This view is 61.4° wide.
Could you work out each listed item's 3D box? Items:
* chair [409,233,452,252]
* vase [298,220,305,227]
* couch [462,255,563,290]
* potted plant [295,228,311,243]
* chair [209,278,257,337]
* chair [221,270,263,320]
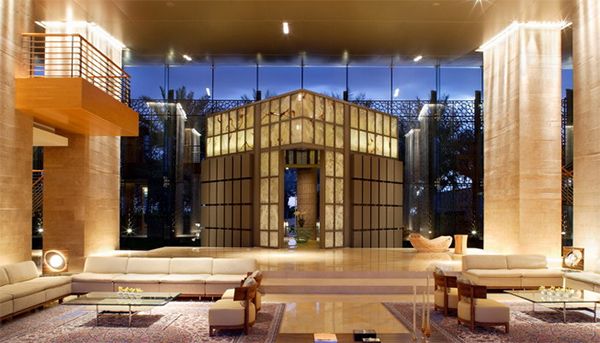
[{"bbox_3d":[5.615,3.116,21.701,1.379,0.518,0.936,-4,-10,1],"label":"chair"},{"bbox_3d":[0.080,2.474,24.119,0.384,0.334,0.304,0,-7,-9],"label":"vase"},{"bbox_3d":[7.276,3.453,17.324,3.227,1.166,0.624,0,-8,1],"label":"couch"},{"bbox_3d":[0.186,3.079,24.457,0.825,0.715,0.687,3,-7,-25],"label":"potted plant"},{"bbox_3d":[-2.039,4.056,15.307,1.611,1.456,1.619,2,-6,0],"label":"chair"},{"bbox_3d":[-1.654,3.622,15.406,1.407,1.703,1.174,3,-7,4],"label":"chair"}]
